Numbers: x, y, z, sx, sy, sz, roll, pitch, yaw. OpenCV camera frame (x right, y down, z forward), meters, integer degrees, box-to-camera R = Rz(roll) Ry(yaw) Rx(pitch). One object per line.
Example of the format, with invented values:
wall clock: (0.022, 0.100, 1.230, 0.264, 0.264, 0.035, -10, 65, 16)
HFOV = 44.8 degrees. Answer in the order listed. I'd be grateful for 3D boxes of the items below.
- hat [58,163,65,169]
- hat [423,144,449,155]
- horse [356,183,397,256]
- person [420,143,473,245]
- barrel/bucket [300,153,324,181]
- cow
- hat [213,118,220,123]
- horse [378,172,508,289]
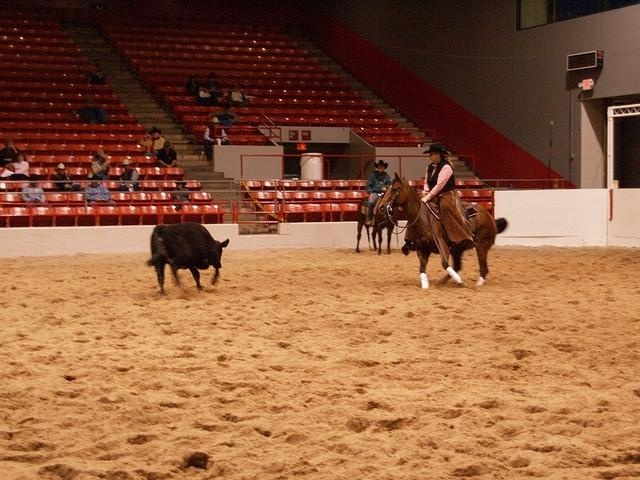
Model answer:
hat: (-6.204, -1.775, 18.782, 0.189, 0.101, 0.261, 0, 1, -32)
hat: (2.028, -1.554, 13.329, 0.292, 0.246, 0.529, 1, 14, 3)
horse: (1.318, -0.486, 18.904, 0.518, 1.442, 2.032, 3, 10, 7)
person: (2.183, -0.825, 13.358, 0.853, 1.675, 0.825, 1, 15, 5)
barrel/bucket: (-0.205, -2.184, 23.114, 0.649, 0.867, 1.202, -1, 15, -2)
cow: (-2.155, 0.298, 12.791, 0.616, 1.183, 2.010, -6, -5, 26)
hat: (-3.152, -3.661, 23.745, 0.191, 0.087, 0.257, -2, 14, -15)
horse: (2.233, -0.044, 13.695, 2.803, 1.865, 0.987, 6, -14, -33)
